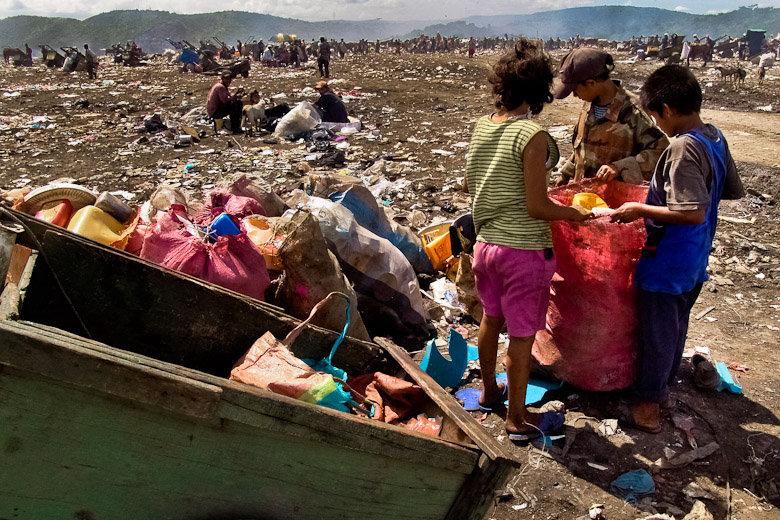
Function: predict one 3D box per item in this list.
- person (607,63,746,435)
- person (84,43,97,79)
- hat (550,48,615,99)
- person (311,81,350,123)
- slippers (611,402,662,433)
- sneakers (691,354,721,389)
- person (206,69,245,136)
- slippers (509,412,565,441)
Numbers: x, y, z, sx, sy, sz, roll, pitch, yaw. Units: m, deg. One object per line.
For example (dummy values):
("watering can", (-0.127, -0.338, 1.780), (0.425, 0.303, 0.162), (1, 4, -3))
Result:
("person", (1.405, -0.040, 2.675), (0.538, 1.821, 0.614), (14, 28, 30))
("person", (-11.337, -7.583, 19.662), (0.395, 1.196, 2.029), (-13, 25, -26))
("hat", (1.054, -1.127, 3.065), (0.356, 0.186, 0.223), (-41, 62, -18))
("person", (-1.012, -2.739, 8.933), (0.570, 0.640, 0.829), (-6, 23, -13))
("slippers", (1.346, 0.818, 2.844), (0.251, 0.153, 0.130), (20, 11, 21))
("sneakers", (1.853, 0.640, 3.062), (0.128, 0.095, 0.219), (-1, 36, 9))
("person", (-2.978, -2.884, 9.478), (0.639, 0.939, 1.312), (-11, 24, -23))
("slippers", (0.787, 0.877, 2.760), (0.258, 0.080, 0.140), (-12, 16, -9))
